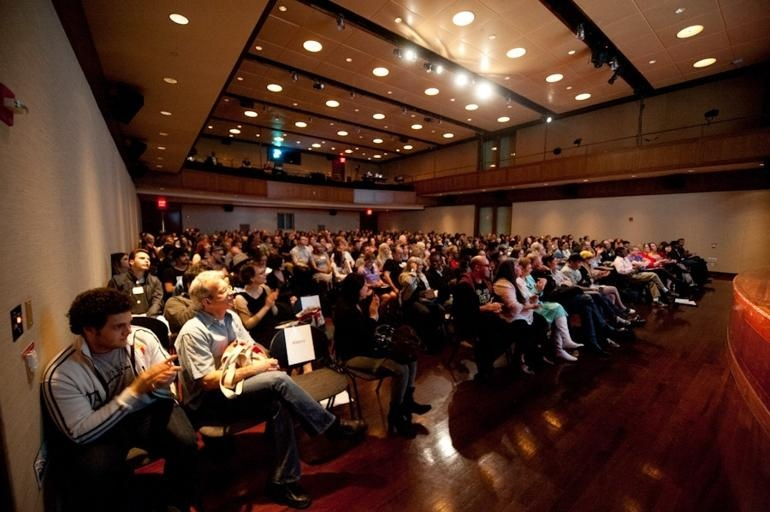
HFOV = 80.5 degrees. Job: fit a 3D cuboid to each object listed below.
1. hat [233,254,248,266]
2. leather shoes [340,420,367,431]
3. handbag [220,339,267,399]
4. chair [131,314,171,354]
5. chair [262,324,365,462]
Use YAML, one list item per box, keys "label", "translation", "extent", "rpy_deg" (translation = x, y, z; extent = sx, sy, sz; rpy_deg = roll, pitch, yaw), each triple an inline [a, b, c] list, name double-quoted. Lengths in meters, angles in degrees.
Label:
- label: "hat"
  translation: [-2.231, 0.037, 6.948]
  extent: [0.214, 0.058, 0.237]
  rpy_deg: [-17, 8, -1]
- label: "leather shoes"
  translation: [-0.366, 1.923, 5.241]
  extent: [0.319, 0.143, 0.122]
  rpy_deg: [-2, 6, -8]
- label: "handbag"
  translation: [-1.504, 1.049, 4.873]
  extent: [0.419, 0.165, 0.357]
  rpy_deg: [15, 35, 41]
- label: "chair"
  translation: [-2.603, 0.857, 5.162]
  extent: [0.392, 0.532, 0.437]
  rpy_deg: [1, -4, -31]
- label: "chair"
  translation: [-0.739, 1.439, 5.104]
  extent: [0.585, 1.077, 0.656]
  rpy_deg: [-16, 17, -35]
